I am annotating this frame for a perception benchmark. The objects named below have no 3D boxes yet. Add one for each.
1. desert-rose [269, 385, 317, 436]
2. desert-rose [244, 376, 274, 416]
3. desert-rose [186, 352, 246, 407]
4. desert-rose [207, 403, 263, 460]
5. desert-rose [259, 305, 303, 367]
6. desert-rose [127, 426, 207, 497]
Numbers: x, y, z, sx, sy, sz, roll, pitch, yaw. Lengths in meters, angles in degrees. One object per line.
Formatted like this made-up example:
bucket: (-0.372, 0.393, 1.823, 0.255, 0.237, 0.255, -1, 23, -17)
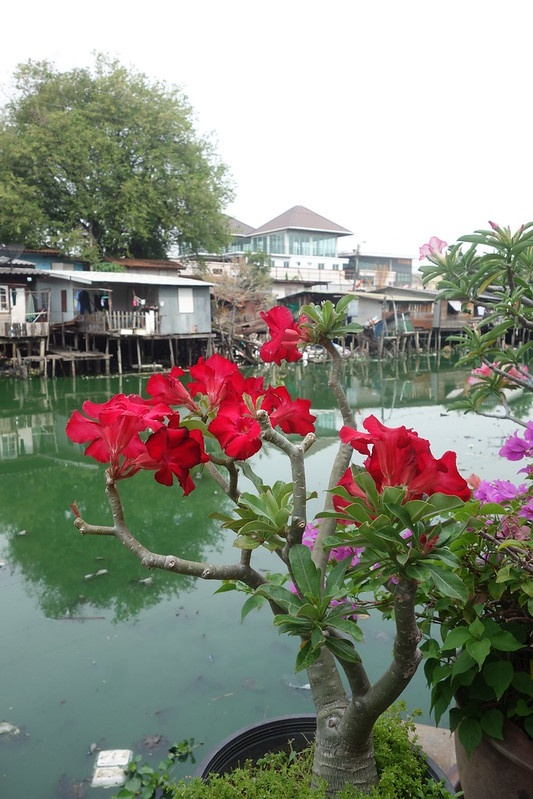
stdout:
desert-rose: (0.038, 0.011, 1.177, 0.119, 0.110, 0.059, -19, 18, -10)
desert-rose: (-0.034, -0.020, 1.109, 0.036, 0.074, 0.074, -26, -22, 35)
desert-rose: (-0.101, -0.054, 1.167, 0.123, 0.116, 0.072, -4, -23, -7)
desert-rose: (-0.059, 0.066, 1.012, 0.083, 0.139, 0.156, -2, 8, -9)
desert-rose: (0.025, -0.187, 1.314, 0.063, 0.139, 0.138, -6, 13, -16)
desert-rose: (-0.151, 0.099, 0.901, 0.103, 0.099, 0.132, 0, 7, -39)
